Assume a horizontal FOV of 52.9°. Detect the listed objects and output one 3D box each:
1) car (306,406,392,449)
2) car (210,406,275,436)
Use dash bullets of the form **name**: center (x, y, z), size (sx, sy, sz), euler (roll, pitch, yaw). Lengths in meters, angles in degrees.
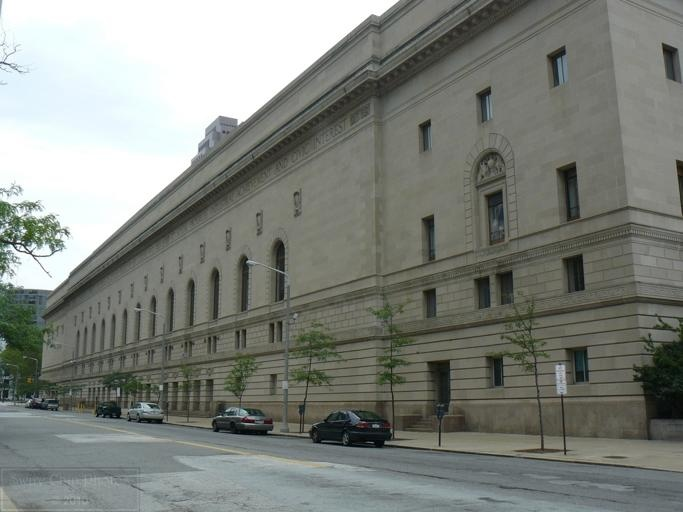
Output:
- **car**: center (0.394, 8.344, 33.299), size (1.240, 1.658, 3.832), euler (23, -29, -40)
- **car**: center (-6.257, 10.149, 42.407), size (1.666, 1.078, 3.901), euler (8, -13, -30)
